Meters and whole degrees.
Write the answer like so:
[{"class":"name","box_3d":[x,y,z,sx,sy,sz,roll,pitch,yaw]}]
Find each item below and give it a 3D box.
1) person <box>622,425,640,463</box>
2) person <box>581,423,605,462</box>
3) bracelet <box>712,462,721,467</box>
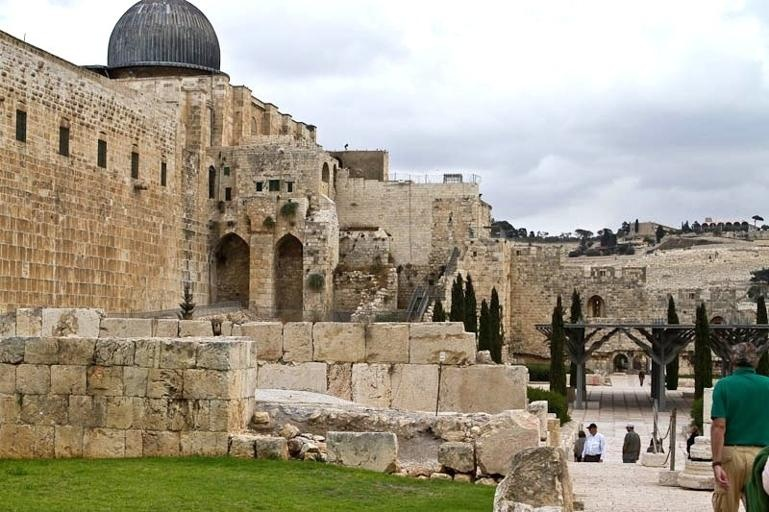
[{"class":"person","box_3d":[7.232,5.530,36.824,0.514,1.062,1.254,-1,-9,10]},{"class":"person","box_3d":[6.002,5.434,36.331,0.614,1.054,0.938,-1,-9,9]},{"class":"bracelet","box_3d":[6.563,4.154,24.834,0.157,0.052,0.112,-1,2,15]}]
